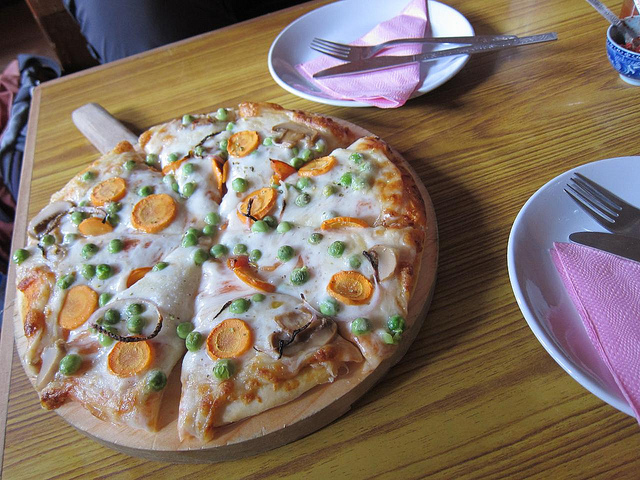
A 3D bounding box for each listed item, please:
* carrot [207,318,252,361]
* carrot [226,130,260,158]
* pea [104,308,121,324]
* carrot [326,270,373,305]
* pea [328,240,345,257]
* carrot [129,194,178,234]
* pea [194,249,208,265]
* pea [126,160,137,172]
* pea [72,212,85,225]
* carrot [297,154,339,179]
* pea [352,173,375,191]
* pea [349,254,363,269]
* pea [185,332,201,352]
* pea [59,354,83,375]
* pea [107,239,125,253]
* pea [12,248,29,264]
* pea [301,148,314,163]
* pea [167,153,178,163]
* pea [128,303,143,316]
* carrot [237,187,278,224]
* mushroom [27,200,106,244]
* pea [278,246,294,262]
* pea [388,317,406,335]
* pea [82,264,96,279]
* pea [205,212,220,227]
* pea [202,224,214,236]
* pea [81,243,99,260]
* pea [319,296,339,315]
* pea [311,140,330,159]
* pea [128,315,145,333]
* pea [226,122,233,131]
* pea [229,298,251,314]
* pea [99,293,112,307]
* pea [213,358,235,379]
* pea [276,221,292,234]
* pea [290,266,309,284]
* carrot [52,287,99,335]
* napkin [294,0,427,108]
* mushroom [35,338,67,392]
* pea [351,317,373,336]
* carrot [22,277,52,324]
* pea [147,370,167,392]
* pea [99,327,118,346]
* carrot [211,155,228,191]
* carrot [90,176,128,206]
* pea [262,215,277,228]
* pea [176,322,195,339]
[{"bbox_3d":[-0.272,0.298,1.761,0.140,0.020,0.118,-13,62,-2],"label":"carrot"},{"bbox_3d":[-0.276,-0.362,2.213,0.121,0.028,0.104,-10,59,9],"label":"carrot"},{"bbox_3d":[-0.655,0.239,1.849,0.047,0.024,0.057,-12,62,-1],"label":"pea"},{"bbox_3d":[0.097,0.151,1.815,0.151,0.131,0.027,-18,32,23],"label":"carrot"},{"bbox_3d":[0.056,0.028,1.866,0.043,0.019,0.053,26,67,17],"label":"pea"},{"bbox_3d":[-0.596,-0.103,2.118,0.165,0.039,0.144,7,71,18],"label":"carrot"},{"bbox_3d":[-0.401,0.061,1.986,0.045,0.023,0.041,6,60,-10],"label":"pea"},{"bbox_3d":[-0.714,-0.284,2.226,0.039,0.025,0.036,7,59,0],"label":"pea"},{"bbox_3d":[-0.874,-0.076,2.103,0.040,0.022,0.038,0,68,-14],"label":"pea"},{"bbox_3d":[-0.007,-0.260,2.094,0.109,0.023,0.104,-18,38,6],"label":"carrot"},{"bbox_3d":[0.150,-0.196,1.998,0.054,0.021,0.065,21,60,21],"label":"pea"},{"bbox_3d":[0.113,0.069,1.838,0.040,0.021,0.040,-44,78,-10],"label":"pea"},{"bbox_3d":[-0.381,0.313,1.780,0.047,0.030,0.051,0,81,15],"label":"pea"},{"bbox_3d":[-0.759,0.383,1.791,0.053,0.032,0.060,4,42,5],"label":"pea"},{"bbox_3d":[-0.702,0.021,2.034,0.041,0.029,0.051,13,53,17],"label":"pea"},{"bbox_3d":[-1.061,0.058,2.085,0.048,0.031,0.057,-3,33,-3],"label":"pea"},{"bbox_3d":[-0.044,-0.308,2.146,0.040,0.027,0.049,4,50,7],"label":"pea"},{"bbox_3d":[-0.566,-0.317,2.254,0.033,0.017,0.031,5,52,9],"label":"pea"},{"bbox_3d":[-0.585,0.223,1.856,0.041,0.020,0.039,1,62,6],"label":"pea"},{"bbox_3d":[-0.221,-0.125,2.057,0.132,0.030,0.133,-30,26,2],"label":"carrot"},{"bbox_3d":[-0.982,-0.078,2.198,0.270,0.211,0.063,-21,69,-38],"label":"mushroom"},{"bbox_3d":[-0.110,0.046,1.910,0.048,0.026,0.051,10,64,10],"label":"pea"},{"bbox_3d":[0.233,0.260,1.761,0.047,0.026,0.047,-38,71,-4],"label":"pea"},{"bbox_3d":[-0.777,0.108,1.973,0.043,0.023,0.041,1,52,-8],"label":"pea"},{"bbox_3d":[-0.383,-0.071,2.090,0.050,0.025,0.046,5,74,-4],"label":"pea"},{"bbox_3d":[-0.393,-0.031,2.069,0.038,0.020,0.035,-4,50,-2],"label":"pea"},{"bbox_3d":[-0.795,0.039,2.022,0.046,0.031,0.056,15,52,13],"label":"pea"},{"bbox_3d":[0.027,0.203,1.787,0.057,0.030,0.055,-20,49,-9],"label":"pea"},{"bbox_3d":[0.005,-0.336,2.178,0.072,0.038,0.067,-2,74,-5],"label":"pea"},{"bbox_3d":[-0.572,0.265,1.825,0.042,0.016,0.050,15,64,13],"label":"pea"},{"bbox_3d":[-0.351,-0.440,2.284,0.030,0.013,0.028,1,70,6],"label":"pea"},{"bbox_3d":[-0.246,0.207,1.809,0.065,0.018,0.050,-5,62,2],"label":"pea"},{"bbox_3d":[-0.700,0.199,1.927,0.034,0.021,0.038,13,63,13],"label":"pea"},{"bbox_3d":[-0.280,0.380,1.717,0.062,0.022,0.057,-1,62,5],"label":"pea"},{"bbox_3d":[-0.121,-0.040,1.977,0.036,0.023,0.041,10,45,10],"label":"pea"},{"bbox_3d":[-0.070,0.114,1.851,0.051,0.017,0.049,8,45,16],"label":"pea"},{"bbox_3d":[-0.804,0.219,1.921,0.139,0.019,0.151,35,70,21],"label":"carrot"},{"bbox_3d":[0.275,-0.719,2.413,0.587,0.084,0.480,-35,56,-14],"label":"napkin"},{"bbox_3d":[-0.831,0.395,1.821,0.085,0.031,0.151,-5,62,3],"label":"mushroom"},{"bbox_3d":[0.132,0.259,1.756,0.055,0.029,0.053,-10,39,4],"label":"pea"},{"bbox_3d":[-0.946,0.202,1.944,0.093,0.032,0.133,17,65,9],"label":"carrot"},{"bbox_3d":[-0.483,0.422,1.745,0.058,0.055,0.031,22,31,13],"label":"pea"},{"bbox_3d":[-0.667,0.306,1.856,0.054,0.049,0.051,7,38,-14],"label":"pea"},{"bbox_3d":[-0.376,-0.249,2.190,0.098,0.028,0.112,-5,81,-2],"label":"carrot"},{"bbox_3d":[-0.773,-0.182,2.168,0.116,0.029,0.110,5,47,26],"label":"carrot"},{"bbox_3d":[-0.168,-0.065,2.017,0.037,0.024,0.042,2,42,-4],"label":"pea"},{"bbox_3d":[-0.421,0.283,1.833,0.050,0.026,0.047,14,61,7],"label":"pea"}]
